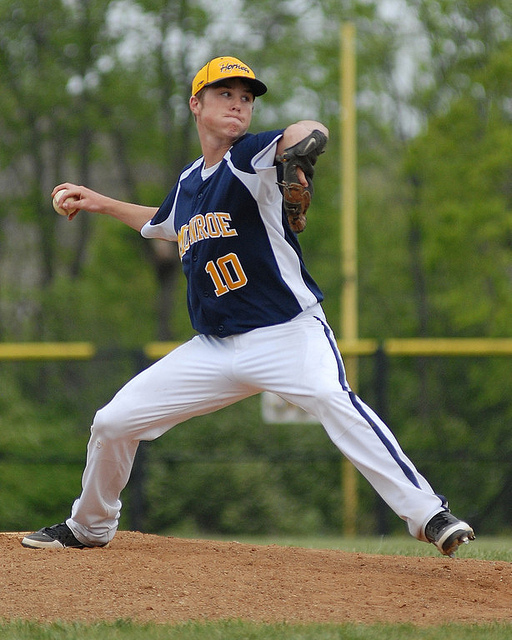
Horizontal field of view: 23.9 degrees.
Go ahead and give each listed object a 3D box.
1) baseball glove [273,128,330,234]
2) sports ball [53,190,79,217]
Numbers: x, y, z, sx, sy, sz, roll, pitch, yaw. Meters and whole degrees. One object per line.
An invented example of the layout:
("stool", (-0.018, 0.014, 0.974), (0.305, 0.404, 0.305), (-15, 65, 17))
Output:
("baseball glove", (0.180, -0.619, 5.293), (0.237, 0.444, 0.226), (-2, 6, -43))
("sports ball", (-1.021, -0.612, 6.329), (0.149, 0.090, 0.123), (-9, 1, 6))
